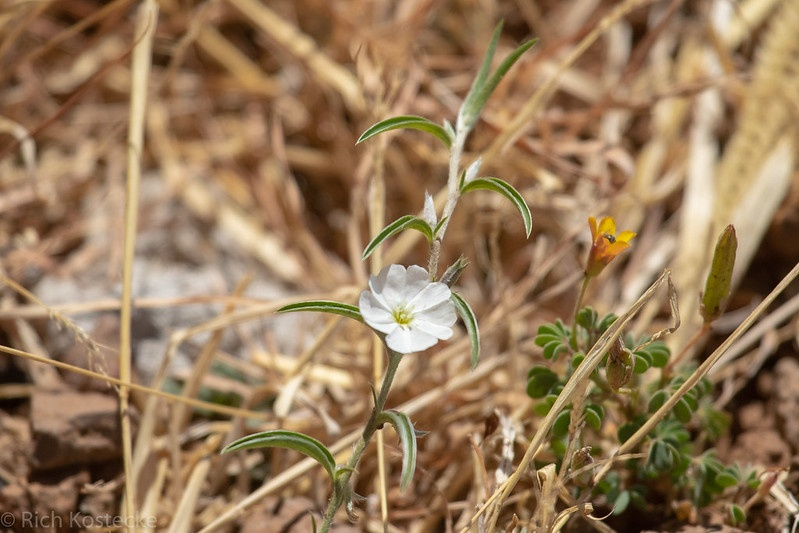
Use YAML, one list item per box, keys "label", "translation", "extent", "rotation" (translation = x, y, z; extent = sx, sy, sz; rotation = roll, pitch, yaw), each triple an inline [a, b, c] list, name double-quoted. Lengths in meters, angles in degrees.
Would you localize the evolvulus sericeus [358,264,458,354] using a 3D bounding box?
- label: "evolvulus sericeus"
  translation: [0.002, 0.114, 2.636]
  extent: [0.223, 0.115, 0.261]
  rotation: [0, 35, 7]
